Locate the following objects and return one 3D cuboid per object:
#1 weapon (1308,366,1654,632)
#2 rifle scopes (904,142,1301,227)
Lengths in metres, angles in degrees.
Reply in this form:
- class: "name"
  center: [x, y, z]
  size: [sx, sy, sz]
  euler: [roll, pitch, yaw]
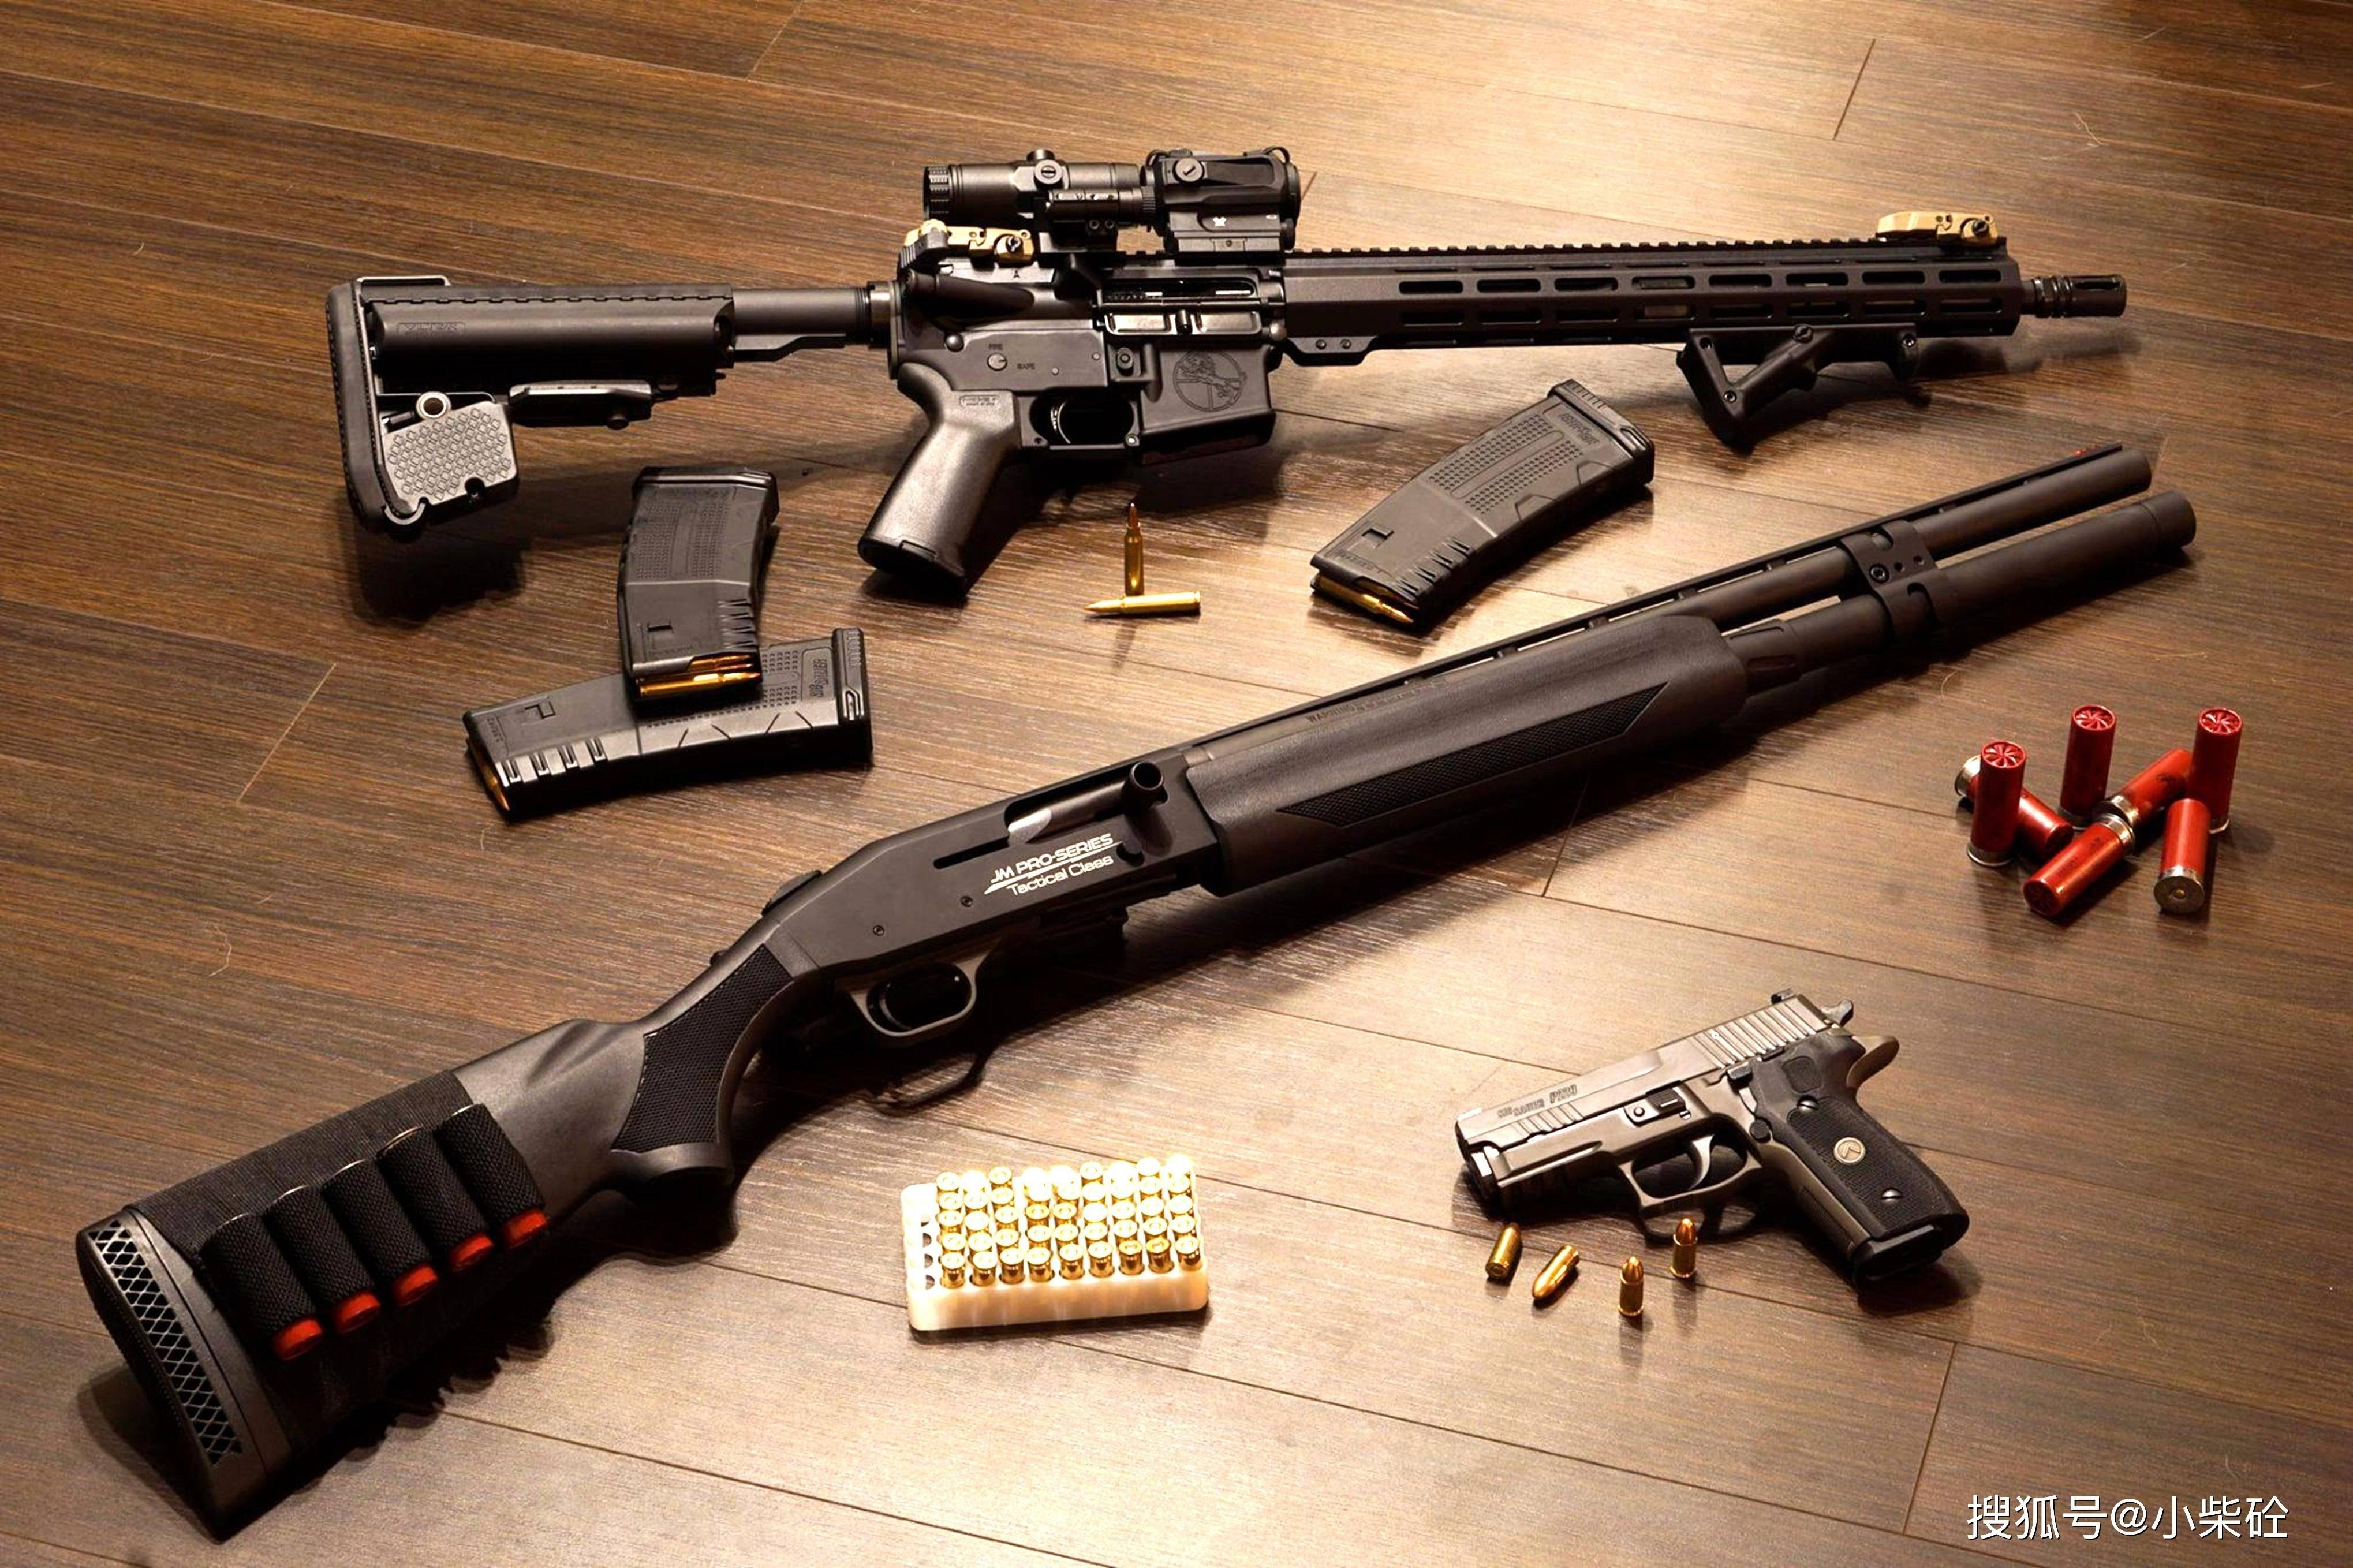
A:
- class: "weapon"
  center: [0.866, -0.797, 5.959]
  size: [1.150, 0.248, 0.471]
  euler: [-29, 54, -20]
- class: "rifle scopes"
  center: [-0.176, -1.683, 5.969]
  size: [1.041, 0.190, 0.150]
  euler: [-4, 41, -10]
